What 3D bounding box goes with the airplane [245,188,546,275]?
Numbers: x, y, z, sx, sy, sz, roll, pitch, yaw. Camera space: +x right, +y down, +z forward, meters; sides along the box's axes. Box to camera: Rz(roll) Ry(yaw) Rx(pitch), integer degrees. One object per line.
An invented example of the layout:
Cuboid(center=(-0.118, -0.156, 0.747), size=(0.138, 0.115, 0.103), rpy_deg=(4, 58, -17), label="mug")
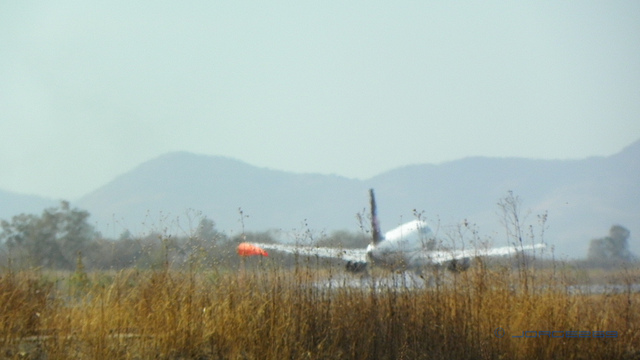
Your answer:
Cuboid(center=(5.468, 6.932, 103.800), size=(9.549, 10.135, 34.741), rpy_deg=(2, -1, -29), label="airplane")
